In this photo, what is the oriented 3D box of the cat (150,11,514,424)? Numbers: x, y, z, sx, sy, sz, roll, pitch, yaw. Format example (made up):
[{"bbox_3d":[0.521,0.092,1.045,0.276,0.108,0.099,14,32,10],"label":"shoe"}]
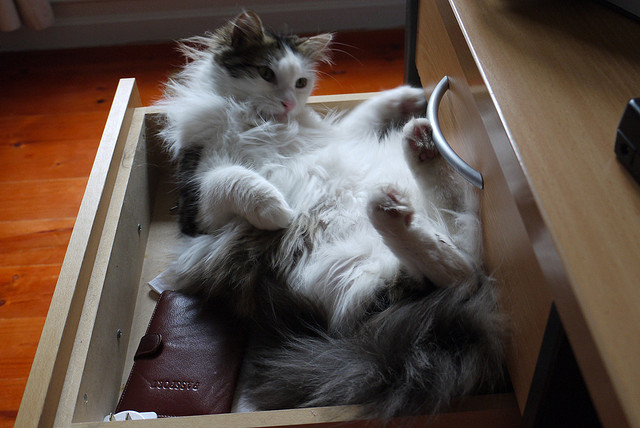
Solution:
[{"bbox_3d":[-0.014,-0.020,0.971,0.516,0.381,0.788,-11,48,-16],"label":"cat"}]

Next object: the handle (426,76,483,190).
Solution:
[{"bbox_3d":[0.203,-0.119,0.859,0.120,0.024,0.149,-36,100,-46],"label":"handle"}]
